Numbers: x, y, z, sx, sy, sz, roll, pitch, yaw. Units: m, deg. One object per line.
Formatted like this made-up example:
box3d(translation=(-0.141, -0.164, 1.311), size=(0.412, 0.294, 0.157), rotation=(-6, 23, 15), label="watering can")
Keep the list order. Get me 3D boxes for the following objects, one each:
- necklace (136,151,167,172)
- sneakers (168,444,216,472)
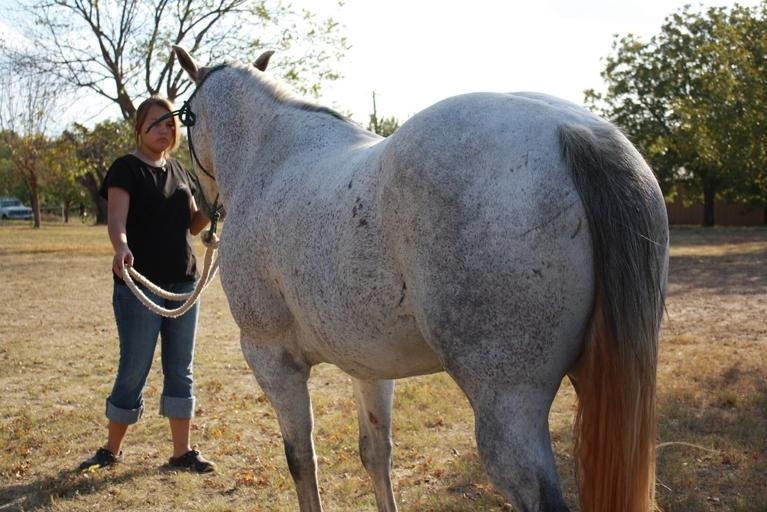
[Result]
box3d(translation=(-2.616, -1.073, 8.661), size=(0.210, 0.062, 0.237), rotation=(26, 5, 2), label="necklace")
box3d(translation=(-2.203, 2.351, 8.928), size=(0.587, 0.321, 0.236), rotation=(1, -6, 10), label="sneakers")
